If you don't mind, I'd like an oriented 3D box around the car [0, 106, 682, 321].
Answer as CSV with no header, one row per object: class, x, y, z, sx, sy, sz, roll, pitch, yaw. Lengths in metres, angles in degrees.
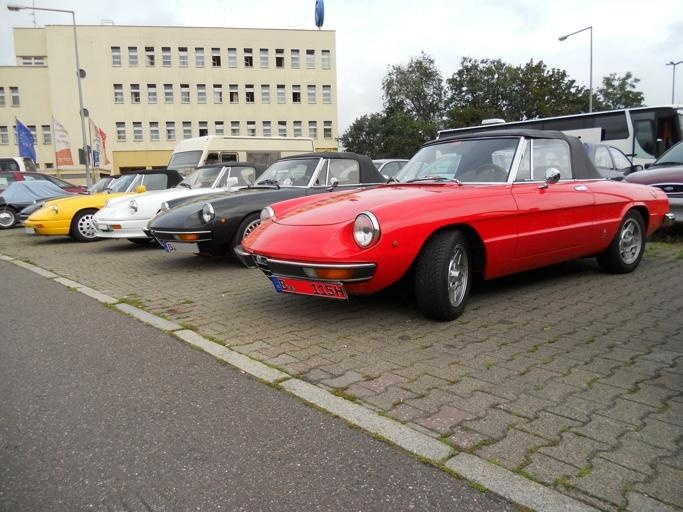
car,1.618,-0.596,5.440,5.136,1.325,2.298,-5,3,-29
